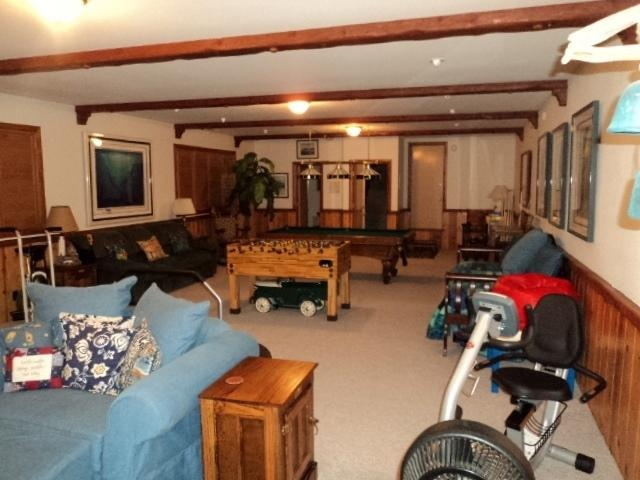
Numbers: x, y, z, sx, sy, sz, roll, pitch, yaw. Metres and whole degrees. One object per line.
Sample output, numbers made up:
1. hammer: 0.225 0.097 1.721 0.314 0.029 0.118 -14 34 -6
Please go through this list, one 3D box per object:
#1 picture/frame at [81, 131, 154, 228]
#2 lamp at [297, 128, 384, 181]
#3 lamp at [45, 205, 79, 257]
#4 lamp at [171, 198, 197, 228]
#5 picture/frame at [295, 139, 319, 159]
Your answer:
1. picture/frame: -3.463 -1.029 8.192 0.130 1.381 1.670 5 10 24
2. lamp: 0.460 -1.788 10.343 1.439 1.170 3.840 1 9 4
3. lamp: -3.603 -0.119 6.800 0.379 0.682 1.166 -5 11 -29
4. lamp: -2.586 -0.562 9.503 0.479 0.581 0.527 5 20 17
5. picture/frame: -0.308 -2.319 12.272 0.495 0.404 0.037 2 8 17
